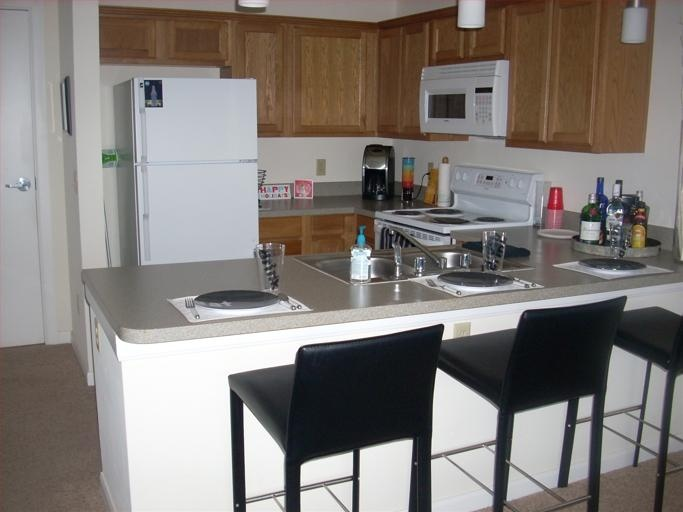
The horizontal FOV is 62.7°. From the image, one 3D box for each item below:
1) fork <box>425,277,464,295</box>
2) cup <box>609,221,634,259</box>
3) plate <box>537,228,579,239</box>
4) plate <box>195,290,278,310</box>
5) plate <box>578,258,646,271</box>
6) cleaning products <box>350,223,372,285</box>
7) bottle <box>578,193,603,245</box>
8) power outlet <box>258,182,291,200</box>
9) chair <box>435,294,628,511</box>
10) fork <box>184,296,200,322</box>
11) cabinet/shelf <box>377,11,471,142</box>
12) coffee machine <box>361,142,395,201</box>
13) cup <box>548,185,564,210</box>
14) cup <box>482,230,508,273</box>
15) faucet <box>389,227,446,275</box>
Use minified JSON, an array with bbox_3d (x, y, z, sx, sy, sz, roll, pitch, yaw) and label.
[{"bbox_3d":[0.390,0.112,2.202,0.041,0.045,0.228,-10,19,-22],"label":"fork"},{"bbox_3d":[1.353,-0.077,2.735,0.095,0.165,0.075,7,15,24],"label":"cup"},{"bbox_3d":[1.299,-0.133,3.364,0.234,0.027,0.220,2,13,6],"label":"plate"},{"bbox_3d":[-0.364,0.151,1.943,0.264,0.033,0.193,4,13,15],"label":"plate"},{"bbox_3d":[1.206,0.039,2.498,0.254,0.023,0.153,-1,13,-4],"label":"plate"},{"bbox_3d":[0.076,-0.011,2.301,0.096,0.226,0.090,0,8,-1],"label":"cleaning products"},{"bbox_3d":[1.303,-0.205,2.925,0.103,0.243,0.240,6,15,24],"label":"bottle"},{"bbox_3d":[-0.565,-0.546,4.739,0.277,0.125,0.128,-3,14,-14],"label":"power outlet"},{"bbox_3d":[0.650,0.552,2.073,0.480,0.912,0.492,-9,16,-32],"label":"chair"},{"bbox_3d":[-0.504,0.156,1.883,0.032,0.026,0.218,-7,22,-18],"label":"fork"},{"bbox_3d":[0.620,-1.330,4.117,0.320,0.930,0.998,-9,16,-28],"label":"cabinet/shelf"},{"bbox_3d":[0.311,-0.723,4.812,0.279,0.465,0.228,1,14,2],"label":"coffee machine"},{"bbox_3d":[1.349,-0.369,3.558,0.128,0.178,0.133,-2,9,0],"label":"cup"},{"bbox_3d":[0.650,-0.027,2.411,0.086,0.183,0.154,4,14,15],"label":"cup"},{"bbox_3d":[0.361,-0.041,2.588,0.308,0.215,0.180,-8,16,-32],"label":"faucet"}]
